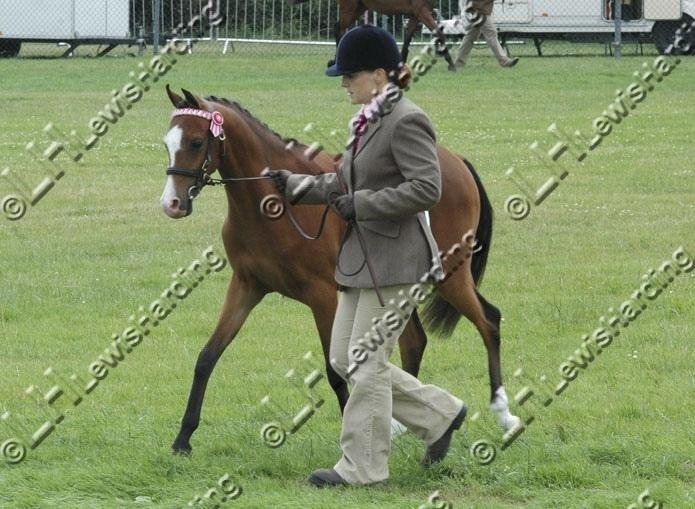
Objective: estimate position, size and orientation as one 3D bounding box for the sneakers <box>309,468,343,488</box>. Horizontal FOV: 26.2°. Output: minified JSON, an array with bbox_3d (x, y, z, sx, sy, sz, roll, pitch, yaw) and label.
[{"bbox_3d":[-0.268,2.673,18.191,0.358,0.170,0.192,5,-2,4],"label":"sneakers"}]

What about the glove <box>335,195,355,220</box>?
[{"bbox_3d":[-0.029,-0.588,17.986,0.261,0.239,0.222,2,-13,-10],"label":"glove"}]
